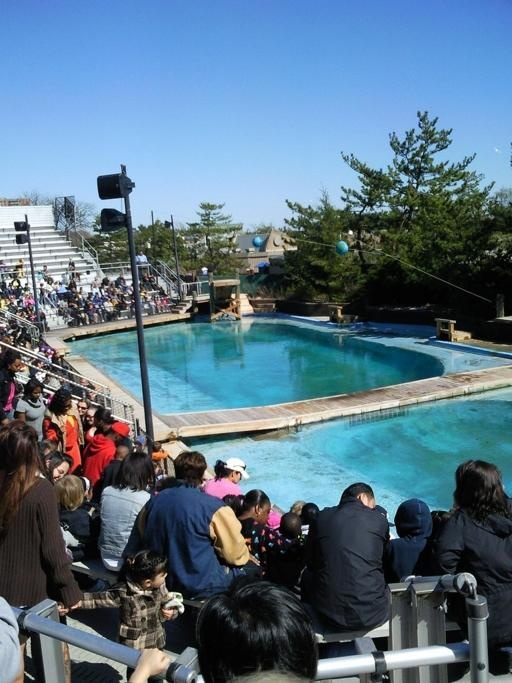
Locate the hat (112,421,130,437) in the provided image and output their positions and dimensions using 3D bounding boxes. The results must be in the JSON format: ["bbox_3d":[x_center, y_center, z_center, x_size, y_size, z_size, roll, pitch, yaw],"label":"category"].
[{"bbox_3d":[-1.615,1.045,6.180,0.146,0.112,0.206,42,15,26],"label":"hat"}]

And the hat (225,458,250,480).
[{"bbox_3d":[-0.217,1.368,5.477,0.204,0.198,0.393,-2,1,-4],"label":"hat"}]
